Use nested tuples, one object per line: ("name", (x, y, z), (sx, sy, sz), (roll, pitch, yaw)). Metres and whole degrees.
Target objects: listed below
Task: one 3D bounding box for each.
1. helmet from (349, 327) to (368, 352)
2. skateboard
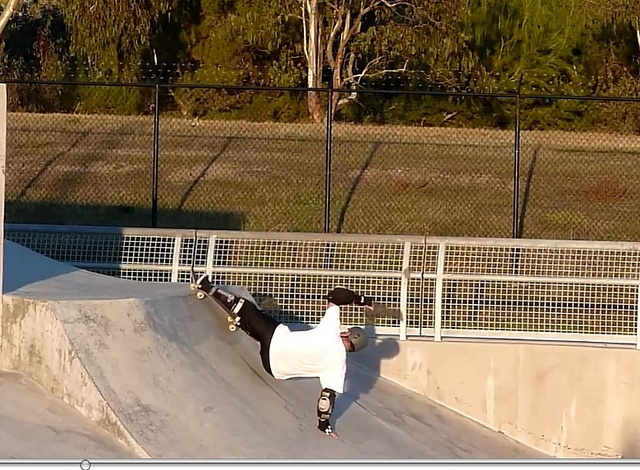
("helmet", (0.670, 1.794, 19.956), (0.277, 0.437, 0.279), (-1, -1, 8))
("skateboard", (-1.878, 1.192, 20.829), (0.981, 0.420, 0.290), (49, 41, 4))
